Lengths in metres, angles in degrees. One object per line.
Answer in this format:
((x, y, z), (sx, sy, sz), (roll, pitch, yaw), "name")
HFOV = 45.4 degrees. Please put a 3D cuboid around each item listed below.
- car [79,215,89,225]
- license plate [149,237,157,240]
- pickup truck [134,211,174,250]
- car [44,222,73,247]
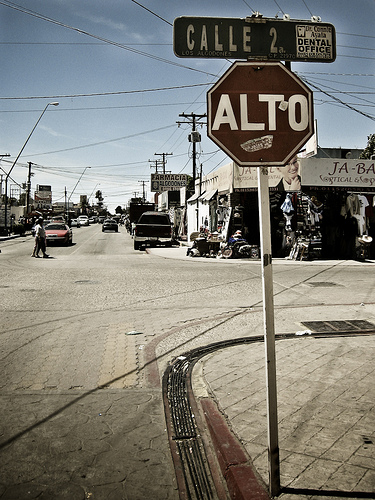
((-19.420, -5.620, 83.929), (1.831, 1.393, 4.136), (-1, 3, -7), "car")
((-2.073, -0.699, 27.204), (0.470, 0.151, 0.076), (0, 2, -29), "license plate")
((-2.160, -1.354, 28.286), (2.720, 2.179, 4.441), (1, 6, -8), "pickup truck")
((-8.767, -1.049, 30.980), (1.657, 1.247, 3.658), (-1, 0, -4), "car")
